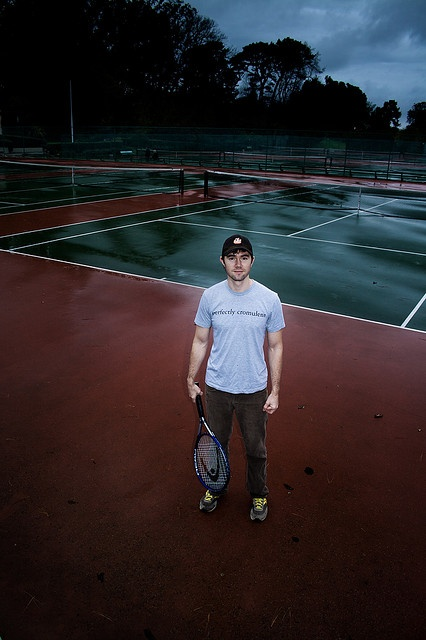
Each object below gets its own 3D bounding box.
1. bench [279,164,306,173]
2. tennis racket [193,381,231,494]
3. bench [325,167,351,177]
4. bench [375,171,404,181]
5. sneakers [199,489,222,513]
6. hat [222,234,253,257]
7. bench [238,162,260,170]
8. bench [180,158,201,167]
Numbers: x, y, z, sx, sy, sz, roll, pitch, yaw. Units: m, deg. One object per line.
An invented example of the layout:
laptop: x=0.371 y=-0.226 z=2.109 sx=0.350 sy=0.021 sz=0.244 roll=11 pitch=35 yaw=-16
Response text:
bench: x=6.520 y=-12.218 z=33.401 sx=1.643 sy=0.846 sz=4.272 roll=5 pitch=18 yaw=4
tennis racket: x=-0.017 y=0.911 z=2.562 sx=0.224 sy=0.874 sz=0.593 roll=3 pitch=17 yaw=1
bench: x=9.716 y=-11.273 z=31.486 sx=1.891 sy=0.835 sz=3.555 roll=9 pitch=19 yaw=16
bench: x=13.171 y=-10.643 z=30.606 sx=1.876 sy=0.841 sz=3.311 roll=12 pitch=20 yaw=26
sneakers: x=-0.029 y=1.261 z=2.913 sx=0.093 sy=0.093 sz=0.210 roll=3 pitch=13 yaw=11
hat: x=0.144 y=-0.423 z=2.415 sx=0.118 sy=0.095 sz=0.168 roll=-1 pitch=4 yaw=1
bench: x=2.976 y=-12.617 z=33.917 sx=2.012 sy=0.606 sz=2.048 roll=5 pitch=18 yaw=4
bench: x=-1.872 y=-13.801 z=36.112 sx=1.260 sy=0.872 sz=4.404 roll=0 pitch=18 yaw=-10
